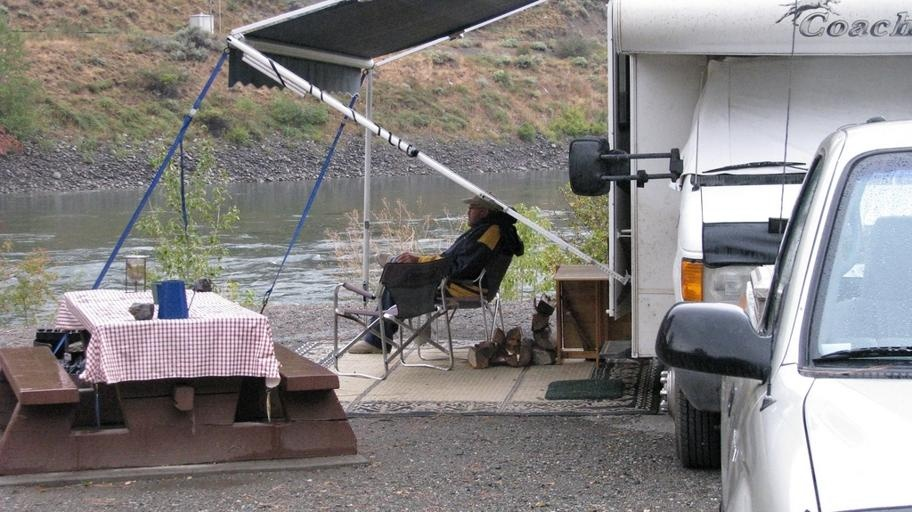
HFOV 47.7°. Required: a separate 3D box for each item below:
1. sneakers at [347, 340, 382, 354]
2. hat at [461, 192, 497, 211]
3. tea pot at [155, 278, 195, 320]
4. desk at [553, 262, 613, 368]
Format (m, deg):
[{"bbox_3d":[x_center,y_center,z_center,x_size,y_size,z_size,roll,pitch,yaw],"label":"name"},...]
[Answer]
[{"bbox_3d":[-1.000,0.982,11.407,0.426,0.179,0.153,3,-2,1],"label":"sneakers"},{"bbox_3d":[0.284,-0.573,11.206,0.292,0.100,0.195,19,-1,12],"label":"hat"},{"bbox_3d":[-2.220,0.334,8.049,0.319,0.291,0.268,-4,5,-36],"label":"tea pot"},{"bbox_3d":[1.263,0.597,10.388,0.676,0.999,0.874,0,7,2],"label":"desk"}]
